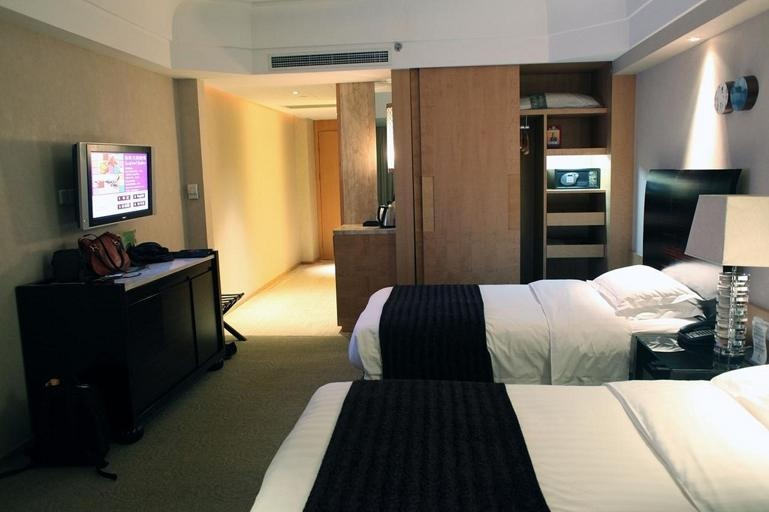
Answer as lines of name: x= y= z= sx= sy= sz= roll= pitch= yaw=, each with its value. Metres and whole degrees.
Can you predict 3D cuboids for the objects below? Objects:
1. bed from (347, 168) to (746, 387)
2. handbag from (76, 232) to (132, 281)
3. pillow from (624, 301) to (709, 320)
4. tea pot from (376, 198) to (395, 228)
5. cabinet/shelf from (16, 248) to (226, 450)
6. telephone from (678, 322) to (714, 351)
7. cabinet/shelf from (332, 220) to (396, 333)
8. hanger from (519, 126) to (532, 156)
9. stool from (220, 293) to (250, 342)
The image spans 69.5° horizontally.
bed: x=1.156 y=0.080 z=4.472 sx=2.499 sy=1.462 sz=1.545 roll=1 pitch=5 yaw=9
handbag: x=-2.120 y=0.015 z=4.139 sx=0.157 sy=0.281 sz=0.303 roll=-19 pitch=2 yaw=20
pillow: x=2.026 y=0.410 z=4.024 sx=0.334 sy=0.056 sz=0.225 roll=-4 pitch=0 yaw=4
tea pot: x=0.029 y=-0.447 z=5.867 sx=0.102 sy=0.286 sz=0.202 roll=7 pitch=9 yaw=-13
cabinet/shelf: x=-1.985 y=0.709 z=4.039 sx=0.542 sy=0.872 sz=1.308 roll=-1 pitch=10 yaw=4
telephone: x=2.039 y=0.531 z=3.616 sx=0.214 sy=0.074 sz=0.159 roll=0 pitch=17 yaw=16
cabinet/shelf: x=-0.234 y=0.137 z=6.606 sx=0.882 sy=1.552 sz=0.991 roll=0 pitch=7 yaw=3
hanger: x=1.525 y=-1.284 z=6.100 sx=0.071 sy=0.286 sz=0.176 roll=-2 pitch=11 yaw=-9
stool: x=-1.618 y=0.683 z=5.923 sx=0.434 sy=0.503 sz=0.502 roll=1 pitch=3 yaw=-2
